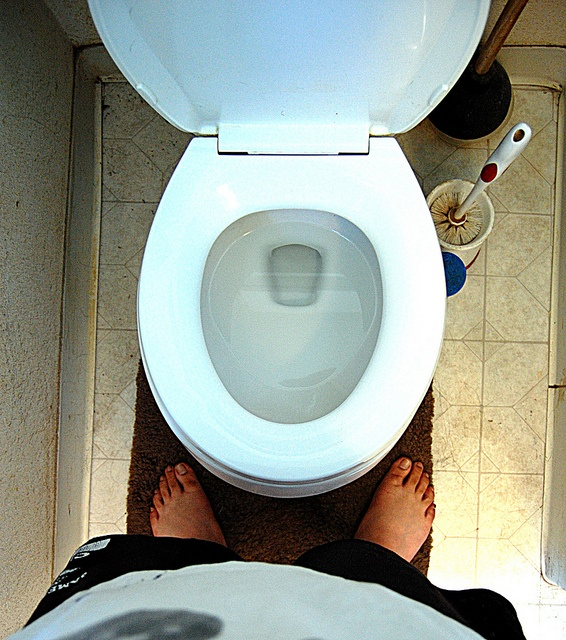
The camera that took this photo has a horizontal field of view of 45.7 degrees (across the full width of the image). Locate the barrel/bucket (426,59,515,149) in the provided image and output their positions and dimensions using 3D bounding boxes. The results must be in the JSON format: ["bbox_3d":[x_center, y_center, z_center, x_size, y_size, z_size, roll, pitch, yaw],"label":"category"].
[{"bbox_3d":[0.351,-0.389,1.227,0.113,0.125,0.148,1,99,8],"label":"barrel/bucket"}]
